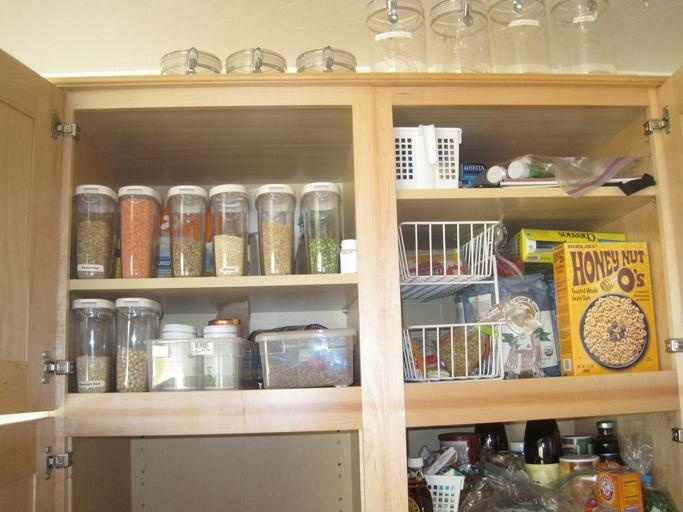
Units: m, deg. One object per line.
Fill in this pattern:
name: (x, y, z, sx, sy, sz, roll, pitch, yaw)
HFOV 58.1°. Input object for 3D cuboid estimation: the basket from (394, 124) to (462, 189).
basket: (0.257, -0.290, 1.793, 0.175, 0.151, 0.212, 0, 10, 1)

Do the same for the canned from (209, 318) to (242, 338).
canned: (-0.344, 0.210, 1.849, 0.070, 0.043, 0.071, 0, -2, 1)

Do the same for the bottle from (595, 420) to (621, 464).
bottle: (0.863, 0.606, 1.985, 0.088, 0.151, 0.087, 4, -31, 3)

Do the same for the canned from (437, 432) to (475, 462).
canned: (0.377, 0.609, 1.986, 0.091, 0.066, 0.087, 0, -1, 11)

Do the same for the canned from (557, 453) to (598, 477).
canned: (0.741, 0.641, 1.903, 0.085, 0.063, 0.085, 1, -8, 1)

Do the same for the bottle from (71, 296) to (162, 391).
bottle: (-0.641, 0.249, 1.905, 0.318, 0.309, 0.243, -1, -8, -5)

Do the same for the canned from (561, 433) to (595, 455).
canned: (0.784, 0.603, 2.019, 0.073, 0.076, 0.074, -3, -6, 45)

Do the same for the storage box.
storage box: (-0.100, 0.299, 1.786, 0.221, 0.123, 0.168, -3, -15, 2)

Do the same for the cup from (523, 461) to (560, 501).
cup: (0.629, 0.694, 1.909, 0.076, 0.087, 0.076, 1, -5, 0)

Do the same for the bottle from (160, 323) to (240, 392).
bottle: (-0.423, 0.294, 1.790, 0.260, 0.190, 0.063, -3, -11, 0)
